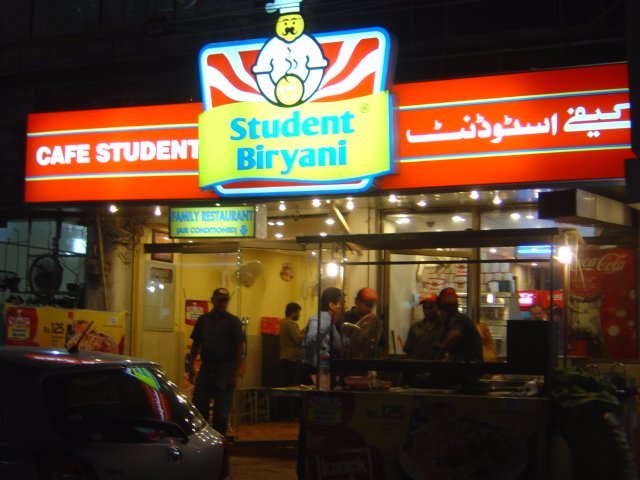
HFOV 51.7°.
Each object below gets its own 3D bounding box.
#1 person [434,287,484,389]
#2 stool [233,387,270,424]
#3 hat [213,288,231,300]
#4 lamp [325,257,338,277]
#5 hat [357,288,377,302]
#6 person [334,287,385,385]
[{"bbox_3d":[1.414,1.037,6.830,0.347,0.497,0.912,3,34,11],"label":"person"},{"bbox_3d":[-1.294,3.184,12.652,0.724,0.627,0.695,4,-7,-24],"label":"stool"},{"bbox_3d":[-1.355,0.729,9.101,0.157,0.107,0.206,7,-20,-15],"label":"hat"},{"bbox_3d":[0.162,0.357,8.419,0.210,0.192,0.363,-3,-7,7],"label":"lamp"},{"bbox_3d":[0.532,0.621,7.442,0.156,0.155,0.158,4,-34,0],"label":"hat"},{"bbox_3d":[0.438,1.025,7.226,0.512,0.982,0.547,6,1,24],"label":"person"}]
